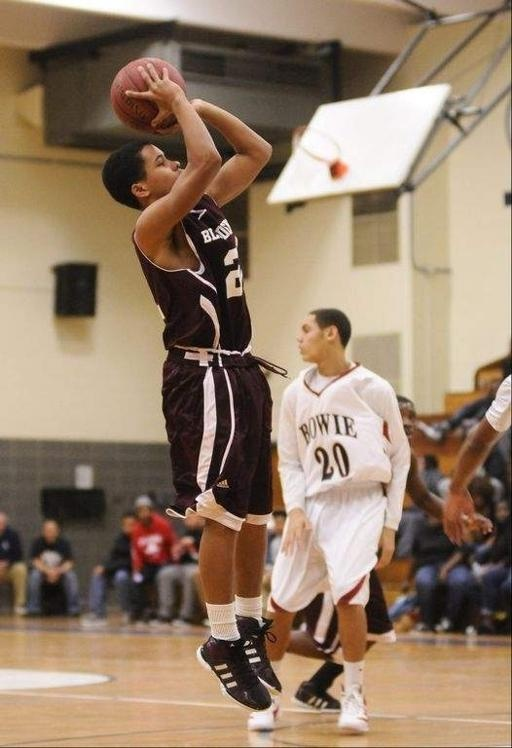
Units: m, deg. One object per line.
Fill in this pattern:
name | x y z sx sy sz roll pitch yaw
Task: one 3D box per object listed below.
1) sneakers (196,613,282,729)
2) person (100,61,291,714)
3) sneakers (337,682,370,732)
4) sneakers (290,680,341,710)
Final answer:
sneakers | -0.040 0.660 2.365 0.186 0.189 0.259 0 -4 1
person | -0.116 0.031 2.325 0.274 1.439 0.482 -2 -4 16
sneakers | 0.264 0.909 2.808 0.081 0.105 0.177 -1 -4 6
sneakers | 0.185 0.998 3.218 0.176 0.072 0.056 8 -6 9
